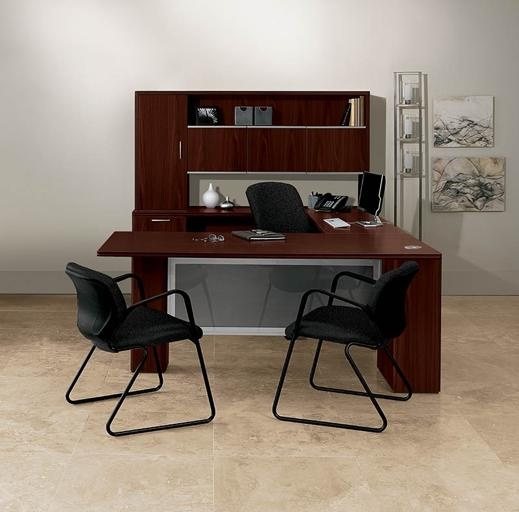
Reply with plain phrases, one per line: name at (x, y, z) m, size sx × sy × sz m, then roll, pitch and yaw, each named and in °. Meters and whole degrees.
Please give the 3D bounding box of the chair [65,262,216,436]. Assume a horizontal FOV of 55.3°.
chair at (-0.649, 0.408, 2.600) m, size 0.683 × 0.812 × 0.725 m, roll -3°, pitch 7°, yaw -27°

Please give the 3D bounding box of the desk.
desk at (-0.006, 0.256, 3.710) m, size 1.731 × 0.663 × 1.708 m, roll -5°, pitch -4°, yaw -1°

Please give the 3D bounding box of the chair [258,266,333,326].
chair at (0.229, 0.210, 3.492) m, size 0.370 × 0.645 × 0.464 m, roll 3°, pitch 14°, yaw 14°

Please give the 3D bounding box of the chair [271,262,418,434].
chair at (0.441, 0.396, 2.813) m, size 0.849 × 1.013 × 0.765 m, roll 2°, pitch 5°, yaw 14°

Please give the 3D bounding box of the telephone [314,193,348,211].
telephone at (0.725, -0.565, 5.141) m, size 0.239 × 0.185 × 0.431 m, roll -4°, pitch 8°, yaw -38°
